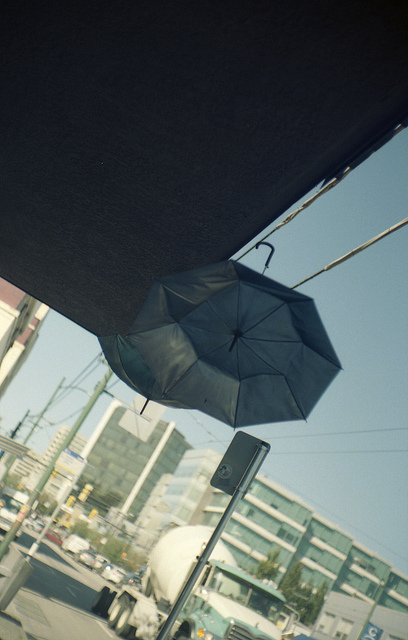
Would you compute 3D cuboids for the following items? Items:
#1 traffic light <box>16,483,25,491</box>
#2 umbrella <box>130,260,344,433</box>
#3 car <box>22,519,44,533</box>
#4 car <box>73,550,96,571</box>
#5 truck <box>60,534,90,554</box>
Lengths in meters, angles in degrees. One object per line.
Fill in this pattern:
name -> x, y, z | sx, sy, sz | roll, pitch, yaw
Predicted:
traffic light -> -26.379, 24.120, 84.163 | 0.986, 0.639, 3.783 | 35, -26, -5
umbrella -> 0.219, 0.263, 4.679 | 1.271, 0.823, 1.747 | 2, -39, 46
car -> -14.380, 17.494, 49.675 | 1.167, 0.942, 8.864 | 34, -26, -1
car -> -7.060, 14.409, 35.267 | 1.199, 0.887, 3.074 | 34, -26, -2
truck -> -8.113, 14.219, 37.057 | 1.025, 0.925, 2.596 | 45, -29, -21
